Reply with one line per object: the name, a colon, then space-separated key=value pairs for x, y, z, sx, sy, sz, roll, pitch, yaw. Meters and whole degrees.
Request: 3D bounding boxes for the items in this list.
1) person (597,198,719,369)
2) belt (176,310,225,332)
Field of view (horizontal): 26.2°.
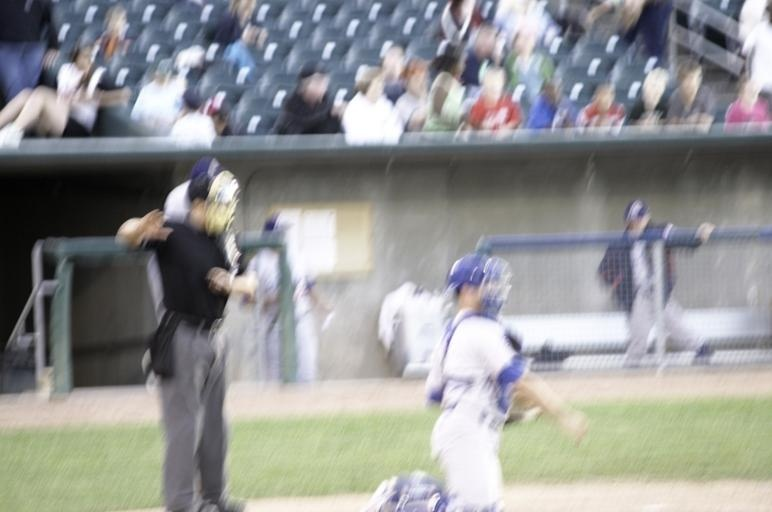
person: x=2.527 y=0.277 z=15.704 sx=1.115 sy=1.543 sz=0.985 roll=-11 pitch=15 yaw=-24
belt: x=-1.683 y=0.584 z=15.159 sx=0.393 sy=0.165 sz=0.096 roll=-2 pitch=1 yaw=-29
